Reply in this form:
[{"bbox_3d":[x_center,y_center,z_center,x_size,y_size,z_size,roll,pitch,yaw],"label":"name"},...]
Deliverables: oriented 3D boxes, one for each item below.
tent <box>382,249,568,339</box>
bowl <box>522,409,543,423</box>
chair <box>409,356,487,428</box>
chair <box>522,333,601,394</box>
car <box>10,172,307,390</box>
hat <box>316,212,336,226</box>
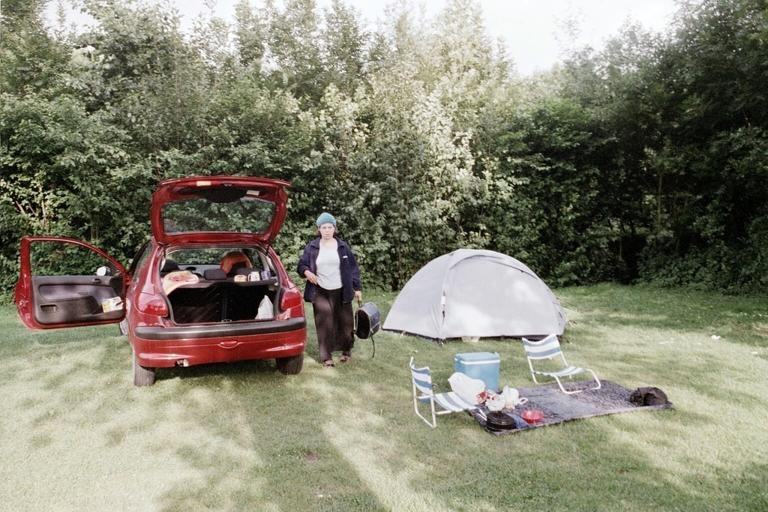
[{"bbox_3d":[2.048,0.865,11.105,2.724,1.142,2.077,-1,5,-12],"label":"tent"},{"bbox_3d":[2.230,2.399,8.092,0.327,0.142,0.221,4,9,12],"label":"bowl"},{"bbox_3d":[0.891,2.096,8.325,0.809,0.882,0.972,-2,-1,-18],"label":"chair"},{"bbox_3d":[2.914,1.801,8.978,0.774,0.752,1.350,-7,3,-14],"label":"chair"},{"bbox_3d":[-3.362,0.326,9.063,4.266,3.410,2.115,3,9,8],"label":"car"},{"bbox_3d":[-1.036,-0.665,9.643,0.274,0.269,0.345,-14,13,-7],"label":"hat"}]
